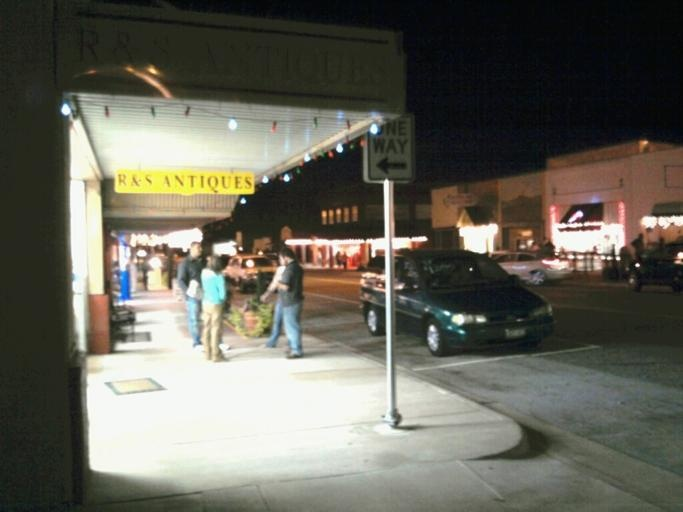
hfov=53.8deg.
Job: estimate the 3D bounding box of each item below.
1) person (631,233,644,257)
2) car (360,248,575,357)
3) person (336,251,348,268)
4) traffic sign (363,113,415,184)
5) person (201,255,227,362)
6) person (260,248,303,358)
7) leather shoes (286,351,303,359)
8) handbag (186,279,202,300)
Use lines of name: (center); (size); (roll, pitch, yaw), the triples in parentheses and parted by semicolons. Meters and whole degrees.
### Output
person: (12.466, -0.414, 28.305); (0.788, 0.576, 1.239); (-3, -13, 22)
car: (1.934, 0.842, 13.184); (1.777, 1.496, 3.507); (-2, 0, -23)
person: (0.019, 0.391, 56.101); (0.570, 1.144, 1.363); (-3, 2, -23)
traffic sign: (0.582, -1.307, 8.245); (0.621, 0.838, 0.517); (-2, 2, 4)
person: (-2.237, 0.924, 11.724); (0.372, 1.870, 0.541); (-3, 2, -14)
person: (-1.103, 0.829, 12.714); (0.697, 1.985, 1.480); (-2, 2, -7)
leather shoes: (-0.856, 1.766, 12.113); (0.274, 0.120, 0.128); (5, -1, -9)
handbag: (-2.778, 0.605, 12.659); (0.299, 0.358, 0.346); (-7, 18, -26)
